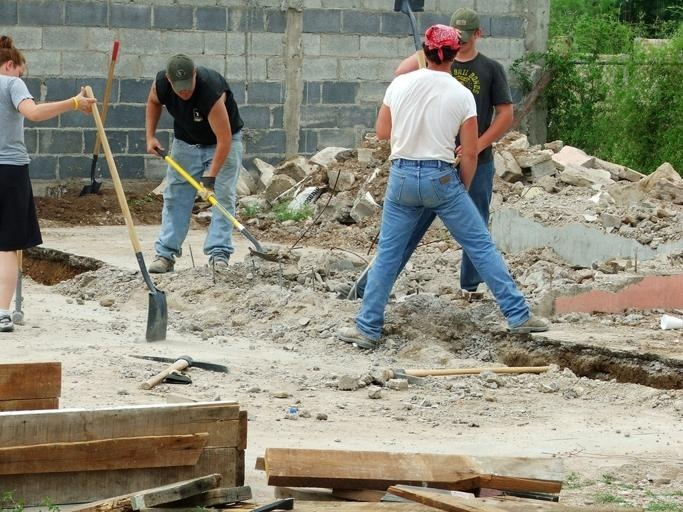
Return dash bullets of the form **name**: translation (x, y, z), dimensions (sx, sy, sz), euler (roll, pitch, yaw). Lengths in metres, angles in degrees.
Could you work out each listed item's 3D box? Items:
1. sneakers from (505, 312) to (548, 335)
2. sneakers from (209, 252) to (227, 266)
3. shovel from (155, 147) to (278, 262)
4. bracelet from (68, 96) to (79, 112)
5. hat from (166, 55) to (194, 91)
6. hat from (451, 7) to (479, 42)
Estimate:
- **sneakers**: translation (1.865, 0.657, 15.308), dimensions (0.418, 0.181, 0.168), euler (-5, 6, -6)
- **sneakers**: translation (-1.391, 0.025, 17.210), dimensions (0.183, 0.124, 0.142), euler (-2, 5, -7)
- **shovel**: translation (-1.399, -0.576, 17.079), dimensions (1.338, 1.149, 0.814), euler (9, 11, 31)
- **bracelet**: translation (-2.721, -1.545, 15.480), dimensions (0.054, 0.106, 0.087), euler (-7, 12, -1)
- **hat**: translation (-1.733, -1.945, 16.390), dimensions (0.302, 0.376, 0.298), euler (2, 10, -7)
- **hat**: translation (1.254, -2.361, 15.545), dimensions (0.237, 0.195, 0.360), euler (11, 50, 14)
